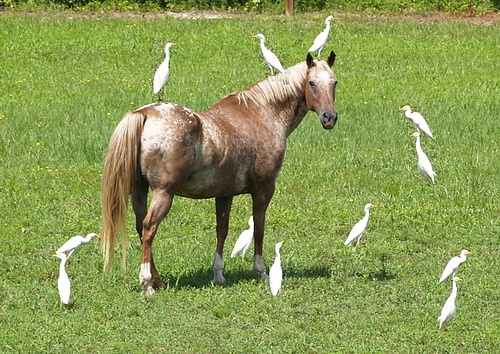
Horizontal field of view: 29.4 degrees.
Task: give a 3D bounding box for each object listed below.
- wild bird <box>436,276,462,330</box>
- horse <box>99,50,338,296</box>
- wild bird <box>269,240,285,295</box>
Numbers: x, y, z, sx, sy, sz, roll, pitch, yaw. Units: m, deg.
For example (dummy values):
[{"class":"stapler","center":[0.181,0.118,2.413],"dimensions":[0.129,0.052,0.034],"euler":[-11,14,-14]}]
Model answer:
[{"class":"wild bird","center":[4.400,2.811,21.104],"dimensions":[0.395,1.017,1.017],"euler":[4,24,14]},{"class":"horse","center":[-0.692,0.122,23.808],"dimensions":[6.242,6.115,2.085],"euler":[-3,3,-36]},{"class":"wild bird","center":[0.624,2.057,21.502],"dimensions":[0.281,1.191,0.473],"euler":[4,-16,5]}]
